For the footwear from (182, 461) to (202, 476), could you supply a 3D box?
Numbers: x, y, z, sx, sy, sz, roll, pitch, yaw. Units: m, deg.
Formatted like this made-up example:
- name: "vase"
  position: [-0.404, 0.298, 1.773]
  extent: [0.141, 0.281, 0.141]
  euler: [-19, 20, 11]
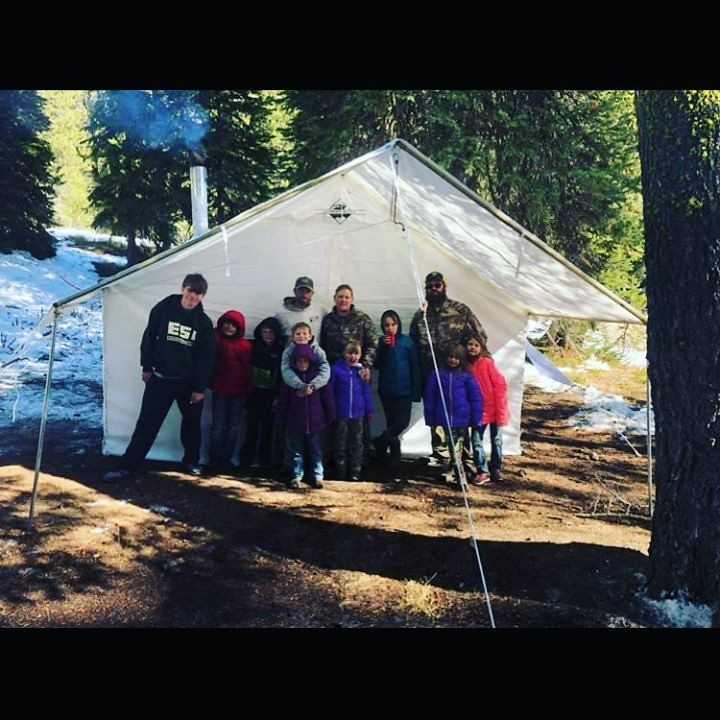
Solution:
- name: "footwear"
  position: [-1.332, 0.866, 5.992]
  extent: [0.092, 0.066, 0.173]
  euler: [4, -11, -40]

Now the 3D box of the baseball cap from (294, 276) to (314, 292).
- name: "baseball cap"
  position: [-0.451, -0.607, 6.070]
  extent: [0.147, 0.102, 0.134]
  euler: [-1, 14, -11]

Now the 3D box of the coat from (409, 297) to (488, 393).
- name: "coat"
  position: [0.698, -0.091, 6.078]
  extent: [0.803, 0.643, 0.273]
  euler: [-7, -8, 3]

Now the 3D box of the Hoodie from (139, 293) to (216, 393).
- name: "Hoodie"
  position: [-1.396, -0.117, 5.753]
  extent: [0.657, 0.779, 0.327]
  euler: [15, 2, -18]

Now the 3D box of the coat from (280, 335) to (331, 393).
- name: "coat"
  position: [-0.393, 0.026, 5.564]
  extent: [0.314, 0.370, 0.125]
  euler: [-3, -9, -11]

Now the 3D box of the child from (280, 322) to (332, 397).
- name: "child"
  position: [-0.409, 0.009, 5.658]
  extent: [0.360, 0.537, 0.186]
  euler: [-6, -4, -18]

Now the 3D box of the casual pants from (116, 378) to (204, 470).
- name: "casual pants"
  position: [-1.574, 0.490, 5.964]
  extent: [0.609, 0.763, 0.263]
  euler: [14, 20, -29]

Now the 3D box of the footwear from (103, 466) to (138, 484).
- name: "footwear"
  position: [-1.893, 0.916, 5.938]
  extent: [0.254, 0.100, 0.110]
  euler: [7, -4, -9]

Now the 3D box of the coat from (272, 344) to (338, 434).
- name: "coat"
  position: [-0.407, 0.242, 5.667]
  extent: [0.430, 0.688, 0.213]
  euler: [1, 14, -2]

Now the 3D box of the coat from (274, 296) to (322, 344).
- name: "coat"
  position: [-0.515, -0.308, 6.015]
  extent: [0.410, 0.366, 0.218]
  euler: [3, -8, -33]

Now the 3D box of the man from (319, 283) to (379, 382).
- name: "man"
  position: [-0.141, -0.170, 6.087]
  extent: [0.552, 0.813, 0.470]
  euler: [0, -2, 9]

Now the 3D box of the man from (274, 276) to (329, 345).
- name: "man"
  position: [-0.492, -0.385, 6.071]
  extent: [0.574, 0.615, 0.229]
  euler: [2, -24, -12]

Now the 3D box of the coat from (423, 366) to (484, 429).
- name: "coat"
  position: [0.746, 0.299, 5.851]
  extent: [0.552, 0.516, 0.239]
  euler: [-1, -1, 14]

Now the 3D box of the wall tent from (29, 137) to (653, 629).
- name: "wall tent"
  position: [-0.246, 0.072, 7.256]
  extent: [4.174, 2.761, 3.949]
  euler: [0, -3, -3]

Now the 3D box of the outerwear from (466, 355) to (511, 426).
- name: "outerwear"
  position: [1.016, 0.238, 5.970]
  extent: [0.458, 0.479, 0.171]
  euler: [-3, -6, -9]
